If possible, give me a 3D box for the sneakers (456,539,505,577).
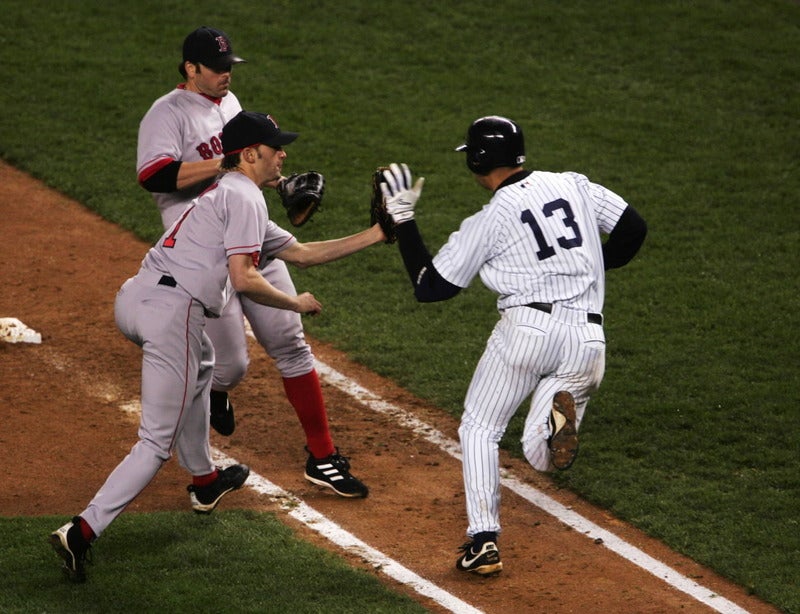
[{"bbox_3d":[0.489,1.545,8.302,0.161,0.159,0.384,-1,2,-18],"label":"sneakers"}]

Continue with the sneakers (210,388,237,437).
[{"bbox_3d":[-1.249,0.723,9.393,0.131,0.338,0.143,-21,23,-17],"label":"sneakers"}]

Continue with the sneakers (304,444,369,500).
[{"bbox_3d":[-0.421,1.109,9.150,0.215,0.256,0.619,-8,16,-41],"label":"sneakers"}]

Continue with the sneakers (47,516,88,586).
[{"bbox_3d":[-1.974,1.466,8.122,0.163,0.425,0.207,25,52,30],"label":"sneakers"}]

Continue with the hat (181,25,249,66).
[{"bbox_3d":[-1.246,-1.750,8.966,0.392,0.197,0.242,4,23,12],"label":"hat"}]

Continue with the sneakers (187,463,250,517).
[{"bbox_3d":[-1.202,1.133,8.834,0.183,0.202,0.491,24,39,31],"label":"sneakers"}]

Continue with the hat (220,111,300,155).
[{"bbox_3d":[-0.886,-1.134,8.454,0.524,0.240,0.319,-8,14,9],"label":"hat"}]

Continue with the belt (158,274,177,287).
[{"bbox_3d":[-1.427,-0.165,8.258,0.108,0.053,0.053,16,27,7],"label":"belt"}]

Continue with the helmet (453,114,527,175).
[{"bbox_3d":[0.575,-1.054,8.526,0.485,0.333,0.358,13,25,39],"label":"helmet"}]
